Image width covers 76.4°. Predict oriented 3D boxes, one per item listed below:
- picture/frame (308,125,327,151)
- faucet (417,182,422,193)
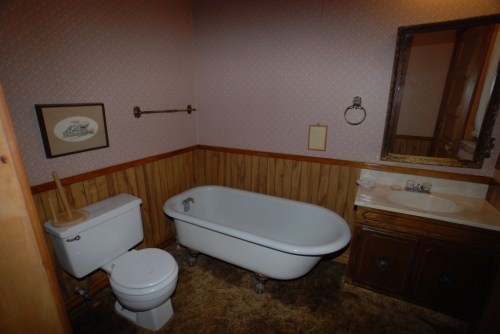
[{"bbox_3d":[0.825,-0.358,3.830,0.280,0.395,0.020,3,12,20],"label":"picture/frame"},{"bbox_3d":[1.867,0.230,3.501,0.053,0.034,0.078,8,52,32],"label":"faucet"}]
